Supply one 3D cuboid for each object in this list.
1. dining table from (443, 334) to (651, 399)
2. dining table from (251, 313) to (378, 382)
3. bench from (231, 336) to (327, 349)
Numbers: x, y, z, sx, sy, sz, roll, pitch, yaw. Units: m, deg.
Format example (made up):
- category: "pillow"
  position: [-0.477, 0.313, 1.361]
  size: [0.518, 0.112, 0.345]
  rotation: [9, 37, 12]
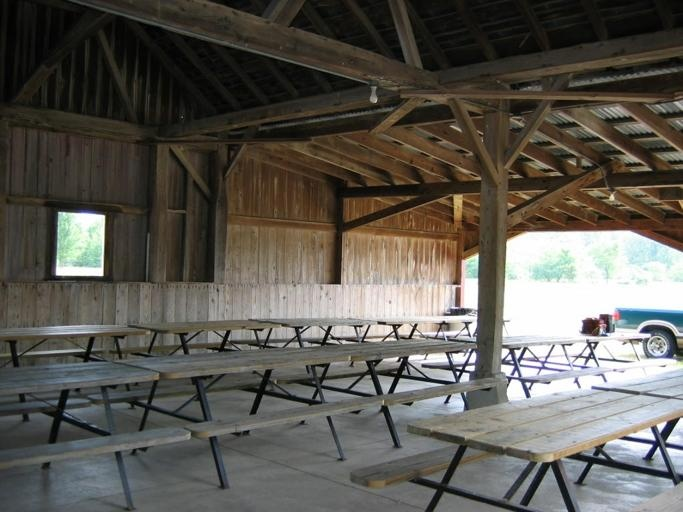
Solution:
- category: "dining table"
  position: [3.839, 1.953, 9.752]
  size: [3.488, 0.620, 1.384]
  rotation: [5, -11, -35]
- category: "dining table"
  position: [-0.430, 1.368, 8.037]
  size: [2.224, 0.708, 0.448]
  rotation: [2, -32, -14]
- category: "bench"
  position: [-1.111, 1.426, 8.761]
  size: [1.120, 0.203, 0.425]
  rotation: [-2, 2, -33]
